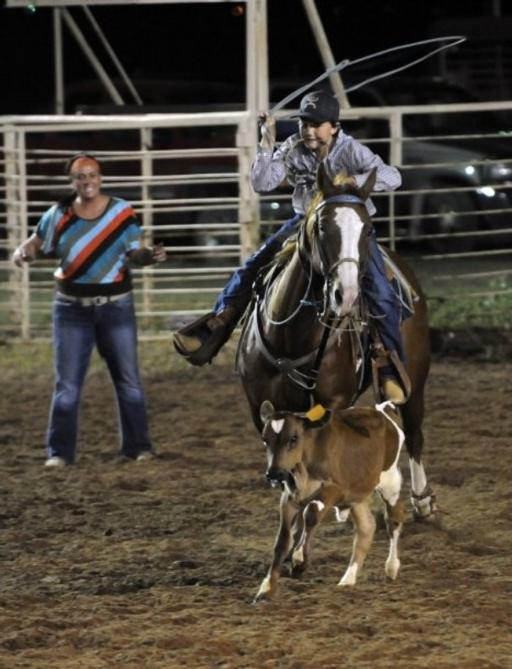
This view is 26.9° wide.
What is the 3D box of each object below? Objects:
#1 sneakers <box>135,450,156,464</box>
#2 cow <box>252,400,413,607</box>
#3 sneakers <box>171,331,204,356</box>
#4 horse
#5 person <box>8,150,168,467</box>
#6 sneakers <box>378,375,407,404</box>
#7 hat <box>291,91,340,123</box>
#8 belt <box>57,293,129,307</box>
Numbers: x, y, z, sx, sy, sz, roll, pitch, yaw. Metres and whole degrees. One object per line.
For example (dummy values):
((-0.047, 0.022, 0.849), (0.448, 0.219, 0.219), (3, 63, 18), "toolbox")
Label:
((-0.748, 0.835, 7.238), (0.054, 0.079, 0.167), (-3, -11, 23), "sneakers")
((0.322, 0.733, 4.810), (0.379, 0.921, 0.845), (7, 13, 34), "cow")
((-0.398, 0.044, 6.085), (0.154, 0.144, 0.117), (-30, 21, -12), "sneakers")
((0.450, 0.254, 5.684), (0.989, 1.506, 2.569), (-4, -9, 10), "horse")
((-1.060, -0.122, 6.900), (0.823, 2.019, 0.354), (-3, 12, -8), "person")
((0.694, 0.292, 5.469), (0.075, 0.207, 0.120), (-24, -13, 11), "sneakers")
((0.307, -1.123, 5.331), (0.160, 0.107, 0.216), (11, 15, 30), "hat")
((-1.040, -0.221, 6.850), (0.474, 0.091, 0.119), (-3, 10, -13), "belt")
